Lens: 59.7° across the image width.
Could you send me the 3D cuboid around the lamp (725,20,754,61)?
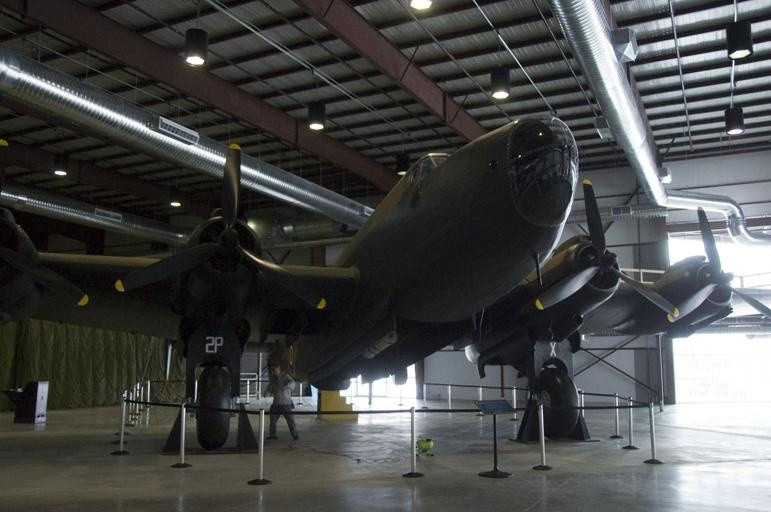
[{"bbox_3d":[11.128,-6.856,21.181,0.645,1.138,0.519,-2,-2,37],"label":"lamp"}]
